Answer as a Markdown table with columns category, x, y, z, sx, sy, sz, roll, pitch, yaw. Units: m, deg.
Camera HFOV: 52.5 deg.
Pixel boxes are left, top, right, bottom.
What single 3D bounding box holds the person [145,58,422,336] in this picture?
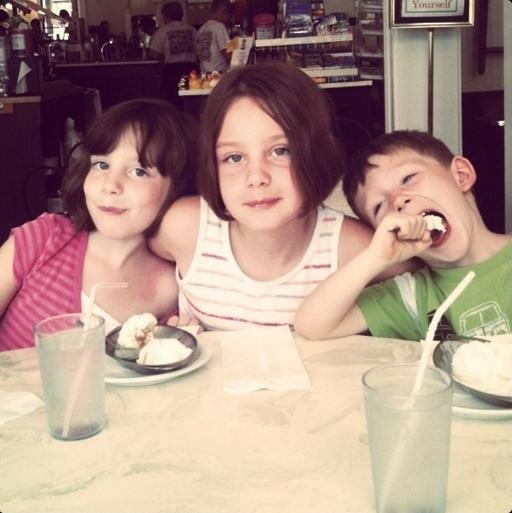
| category | x | y | z | sx | sy | sz | roll | pitch | yaw |
| --- | --- | --- | --- | --- | --- | --- | --- | --- | --- |
| person | 0.052 | -0.122 | 1.450 | 0.974 | 0.656 | 0.349 | 3 | 2 | 20 |
